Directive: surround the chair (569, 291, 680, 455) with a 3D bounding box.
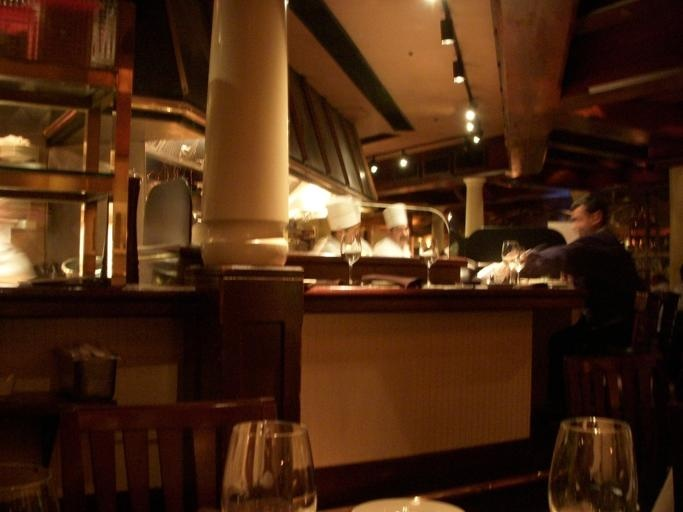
[{"bbox_3d":[1.182,0.448,2.458,0.274,0.597,1.142,-5,-6,34],"label":"chair"}]

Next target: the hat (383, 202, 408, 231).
[{"bbox_3d":[0.507,-0.380,5.732,0.179,0.181,0.218,-3,1,16],"label":"hat"}]

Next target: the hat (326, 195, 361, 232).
[{"bbox_3d":[0.012,-0.454,5.639,0.300,0.314,0.307,-31,32,-30],"label":"hat"}]
